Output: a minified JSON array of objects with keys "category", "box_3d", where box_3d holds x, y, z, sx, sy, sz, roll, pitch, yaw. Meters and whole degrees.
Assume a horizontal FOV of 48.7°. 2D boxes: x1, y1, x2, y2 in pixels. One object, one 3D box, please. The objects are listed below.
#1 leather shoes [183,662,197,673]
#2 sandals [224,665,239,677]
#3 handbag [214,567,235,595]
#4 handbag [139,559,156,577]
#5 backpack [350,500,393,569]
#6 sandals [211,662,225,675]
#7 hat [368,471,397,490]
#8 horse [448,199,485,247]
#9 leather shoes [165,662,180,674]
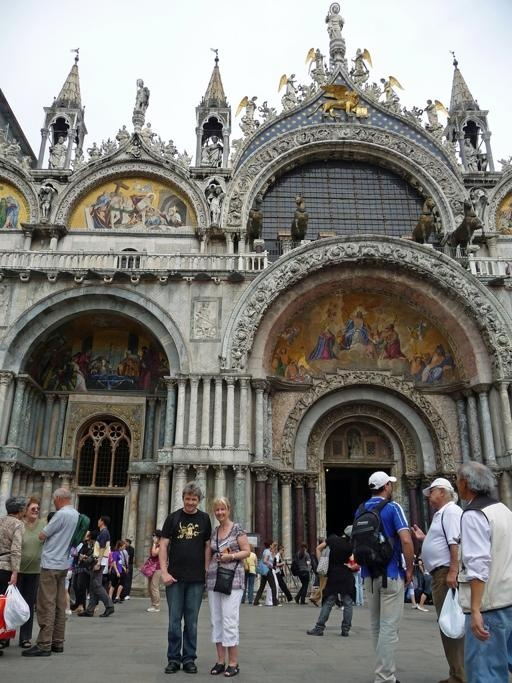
[{"category":"leather shoes","box_3d":[-0.635,3.142,5.472,0.139,0.081,0.249,2,-16,-6]},{"category":"sandals","box_3d":[-0.234,3.122,5.393,0.142,0.076,0.277,1,-16,-2]},{"category":"handbag","box_3d":[-0.316,2.422,5.754,0.271,0.307,0.113,-2,-33,10]},{"category":"handbag","box_3d":[-2.396,5.051,12.814,0.246,0.413,0.511,25,-16,-6]},{"category":"backpack","box_3d":[1.077,1.813,5.280,0.367,0.641,0.249,-2,-17,9]},{"category":"sandals","box_3d":[-0.379,3.154,5.477,0.072,0.077,0.199,-1,-28,5]},{"category":"hat","box_3d":[1.238,1.380,5.650,0.295,0.147,0.180,-16,11,-34]},{"category":"horse","box_3d":[8.242,-4.513,22.327,0.686,1.336,2.145,-1,-16,5]},{"category":"leather shoes","box_3d":[-0.797,3.104,5.427,0.141,0.098,0.295,3,-16,-7]}]
